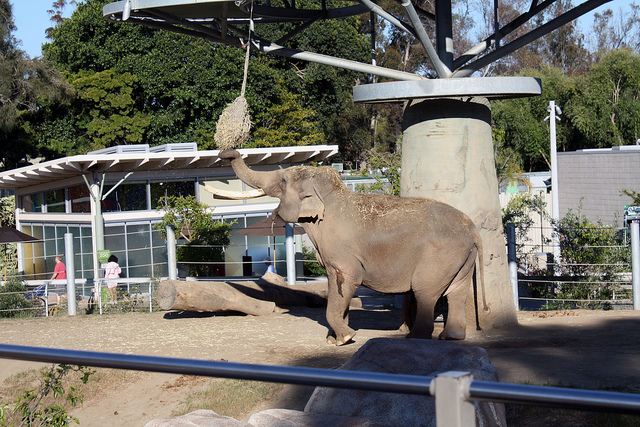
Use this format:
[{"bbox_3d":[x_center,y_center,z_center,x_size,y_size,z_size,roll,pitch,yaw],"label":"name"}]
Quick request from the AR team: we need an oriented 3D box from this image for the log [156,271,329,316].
[{"bbox_3d":[-1.624,1.729,15.829,3.552,0.841,1.081,1,32,-33],"label":"log"}]

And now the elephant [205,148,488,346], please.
[{"bbox_3d":[0.476,0.709,12.855,4.643,3.076,1.520,6,15,14],"label":"elephant"}]
